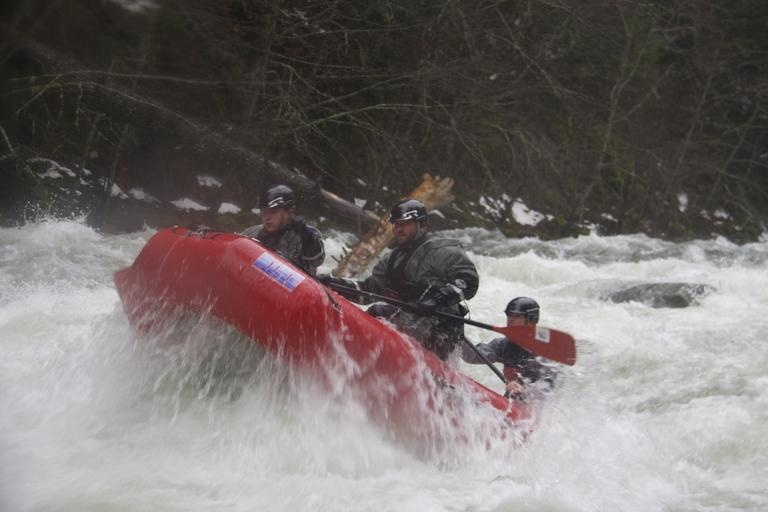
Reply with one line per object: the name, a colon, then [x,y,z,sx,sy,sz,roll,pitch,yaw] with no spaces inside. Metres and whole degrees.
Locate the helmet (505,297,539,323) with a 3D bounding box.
helmet: [1.408,0.523,8.373,0.286,0.236,0.230,-9,14,-30]
